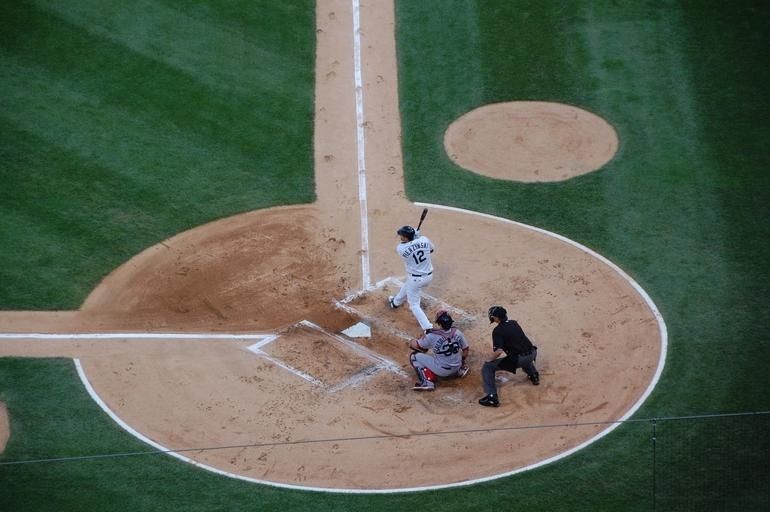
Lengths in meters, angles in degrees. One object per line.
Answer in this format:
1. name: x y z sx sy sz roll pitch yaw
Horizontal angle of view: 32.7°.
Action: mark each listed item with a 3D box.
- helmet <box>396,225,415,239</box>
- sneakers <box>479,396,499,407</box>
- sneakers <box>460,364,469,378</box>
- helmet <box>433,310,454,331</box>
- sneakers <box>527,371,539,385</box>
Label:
1. helmet: 0.532 -0.567 32.361 0.429 0.384 0.310 45 86 6
2. sneakers: 2.433 3.449 31.174 0.538 0.226 0.174 4 67 11
3. sneakers: 1.858 2.794 31.677 0.190 0.132 0.371 36 25 7
4. helmet: 1.432 1.516 31.184 0.432 0.420 0.462 -3 44 -15
5. sneakers: 3.517 2.927 31.419 0.227 0.222 0.328 -6 39 -9
